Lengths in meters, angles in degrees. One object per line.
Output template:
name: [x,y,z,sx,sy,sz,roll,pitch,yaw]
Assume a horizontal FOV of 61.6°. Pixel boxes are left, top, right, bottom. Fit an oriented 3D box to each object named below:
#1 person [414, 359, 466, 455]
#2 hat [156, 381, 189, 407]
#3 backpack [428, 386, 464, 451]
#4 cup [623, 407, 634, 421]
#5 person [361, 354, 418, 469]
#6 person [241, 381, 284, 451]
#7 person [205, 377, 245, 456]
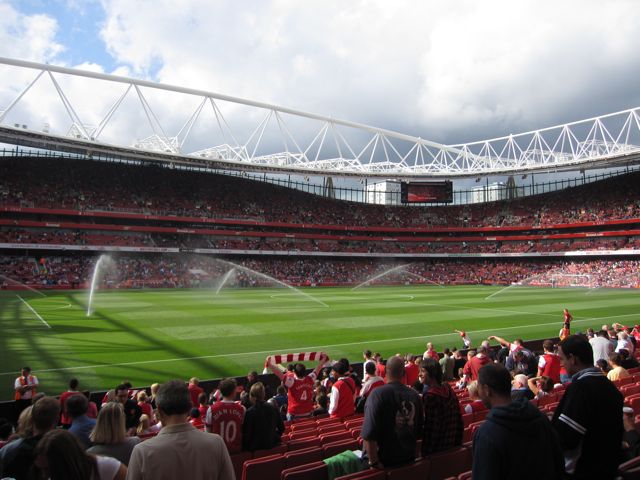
person: [1.940,2.710,8.530,0.744,1.504,0.566,-3,5,0]
hat: [-1.916,1.979,6.933,0.317,0.339,0.382,14,-28,-39]
backpack: [1.914,2.772,8.367,0.730,1.038,0.402,3,-14,-11]
cup: [4.560,2.558,7.932,0.121,0.186,0.470,-8,-15,30]
person: [1.082,2.548,8.001,0.957,1.615,0.519,2,-14,-8]
person: [-1.108,3.065,9.374,0.867,1.063,0.793,6,-13,-42]
person: [-1.543,3.021,9.246,0.880,1.218,0.739,-2,2,-29]
